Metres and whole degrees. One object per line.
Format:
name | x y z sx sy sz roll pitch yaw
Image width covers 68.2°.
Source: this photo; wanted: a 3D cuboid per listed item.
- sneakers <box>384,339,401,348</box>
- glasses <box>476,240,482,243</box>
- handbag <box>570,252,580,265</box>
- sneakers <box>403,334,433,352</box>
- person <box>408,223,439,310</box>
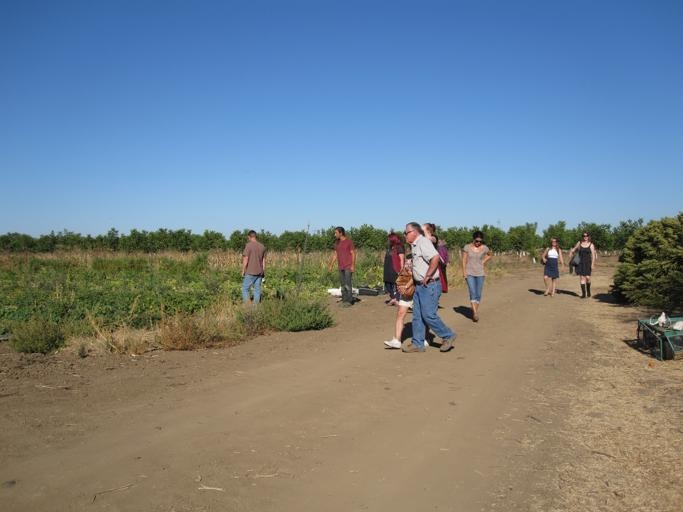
sneakers | 1.052 1.844 10.640 0.392 0.179 0.157 2 -2 20
glasses | 3.529 -0.371 12.935 0.236 0.110 0.087 -9 13 -44
handbag | 8.144 0.116 17.580 0.162 0.359 0.454 2 20 6
sneakers | 1.566 1.829 10.508 0.515 0.237 0.281 3 -4 -13
person | 1.673 0.106 10.048 0.540 1.505 0.801 -6 11 -30
